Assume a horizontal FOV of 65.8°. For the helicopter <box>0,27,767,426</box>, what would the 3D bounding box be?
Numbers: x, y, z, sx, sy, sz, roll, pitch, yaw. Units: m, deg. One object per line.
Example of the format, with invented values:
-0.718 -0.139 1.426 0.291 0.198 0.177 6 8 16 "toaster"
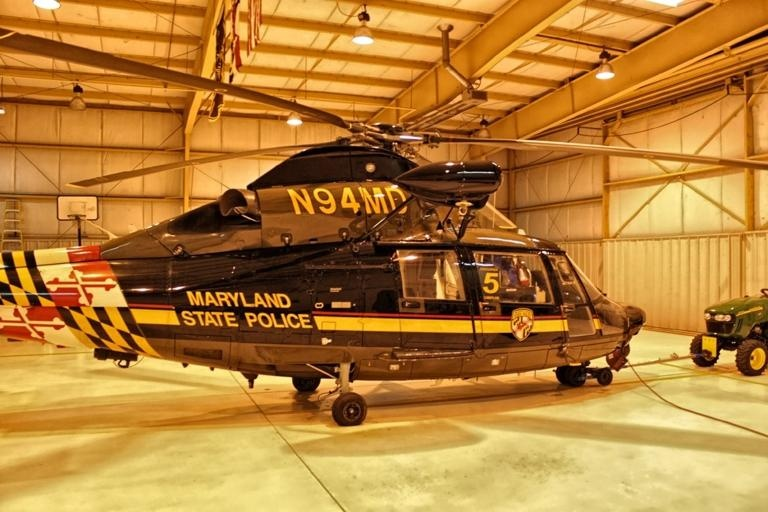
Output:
-1.355 0.379 11.010 12.256 2.824 8.536 0 2 -17 "helicopter"
